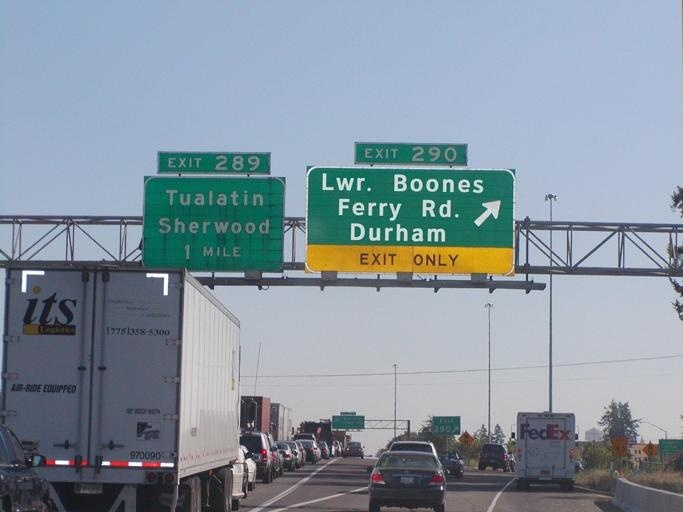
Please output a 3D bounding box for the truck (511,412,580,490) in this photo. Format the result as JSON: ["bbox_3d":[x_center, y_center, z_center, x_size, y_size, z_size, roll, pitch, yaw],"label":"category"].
[{"bbox_3d":[7.572,7.276,60.335,2.165,2.606,0.670,-1,-9,-2],"label":"truck"}]
